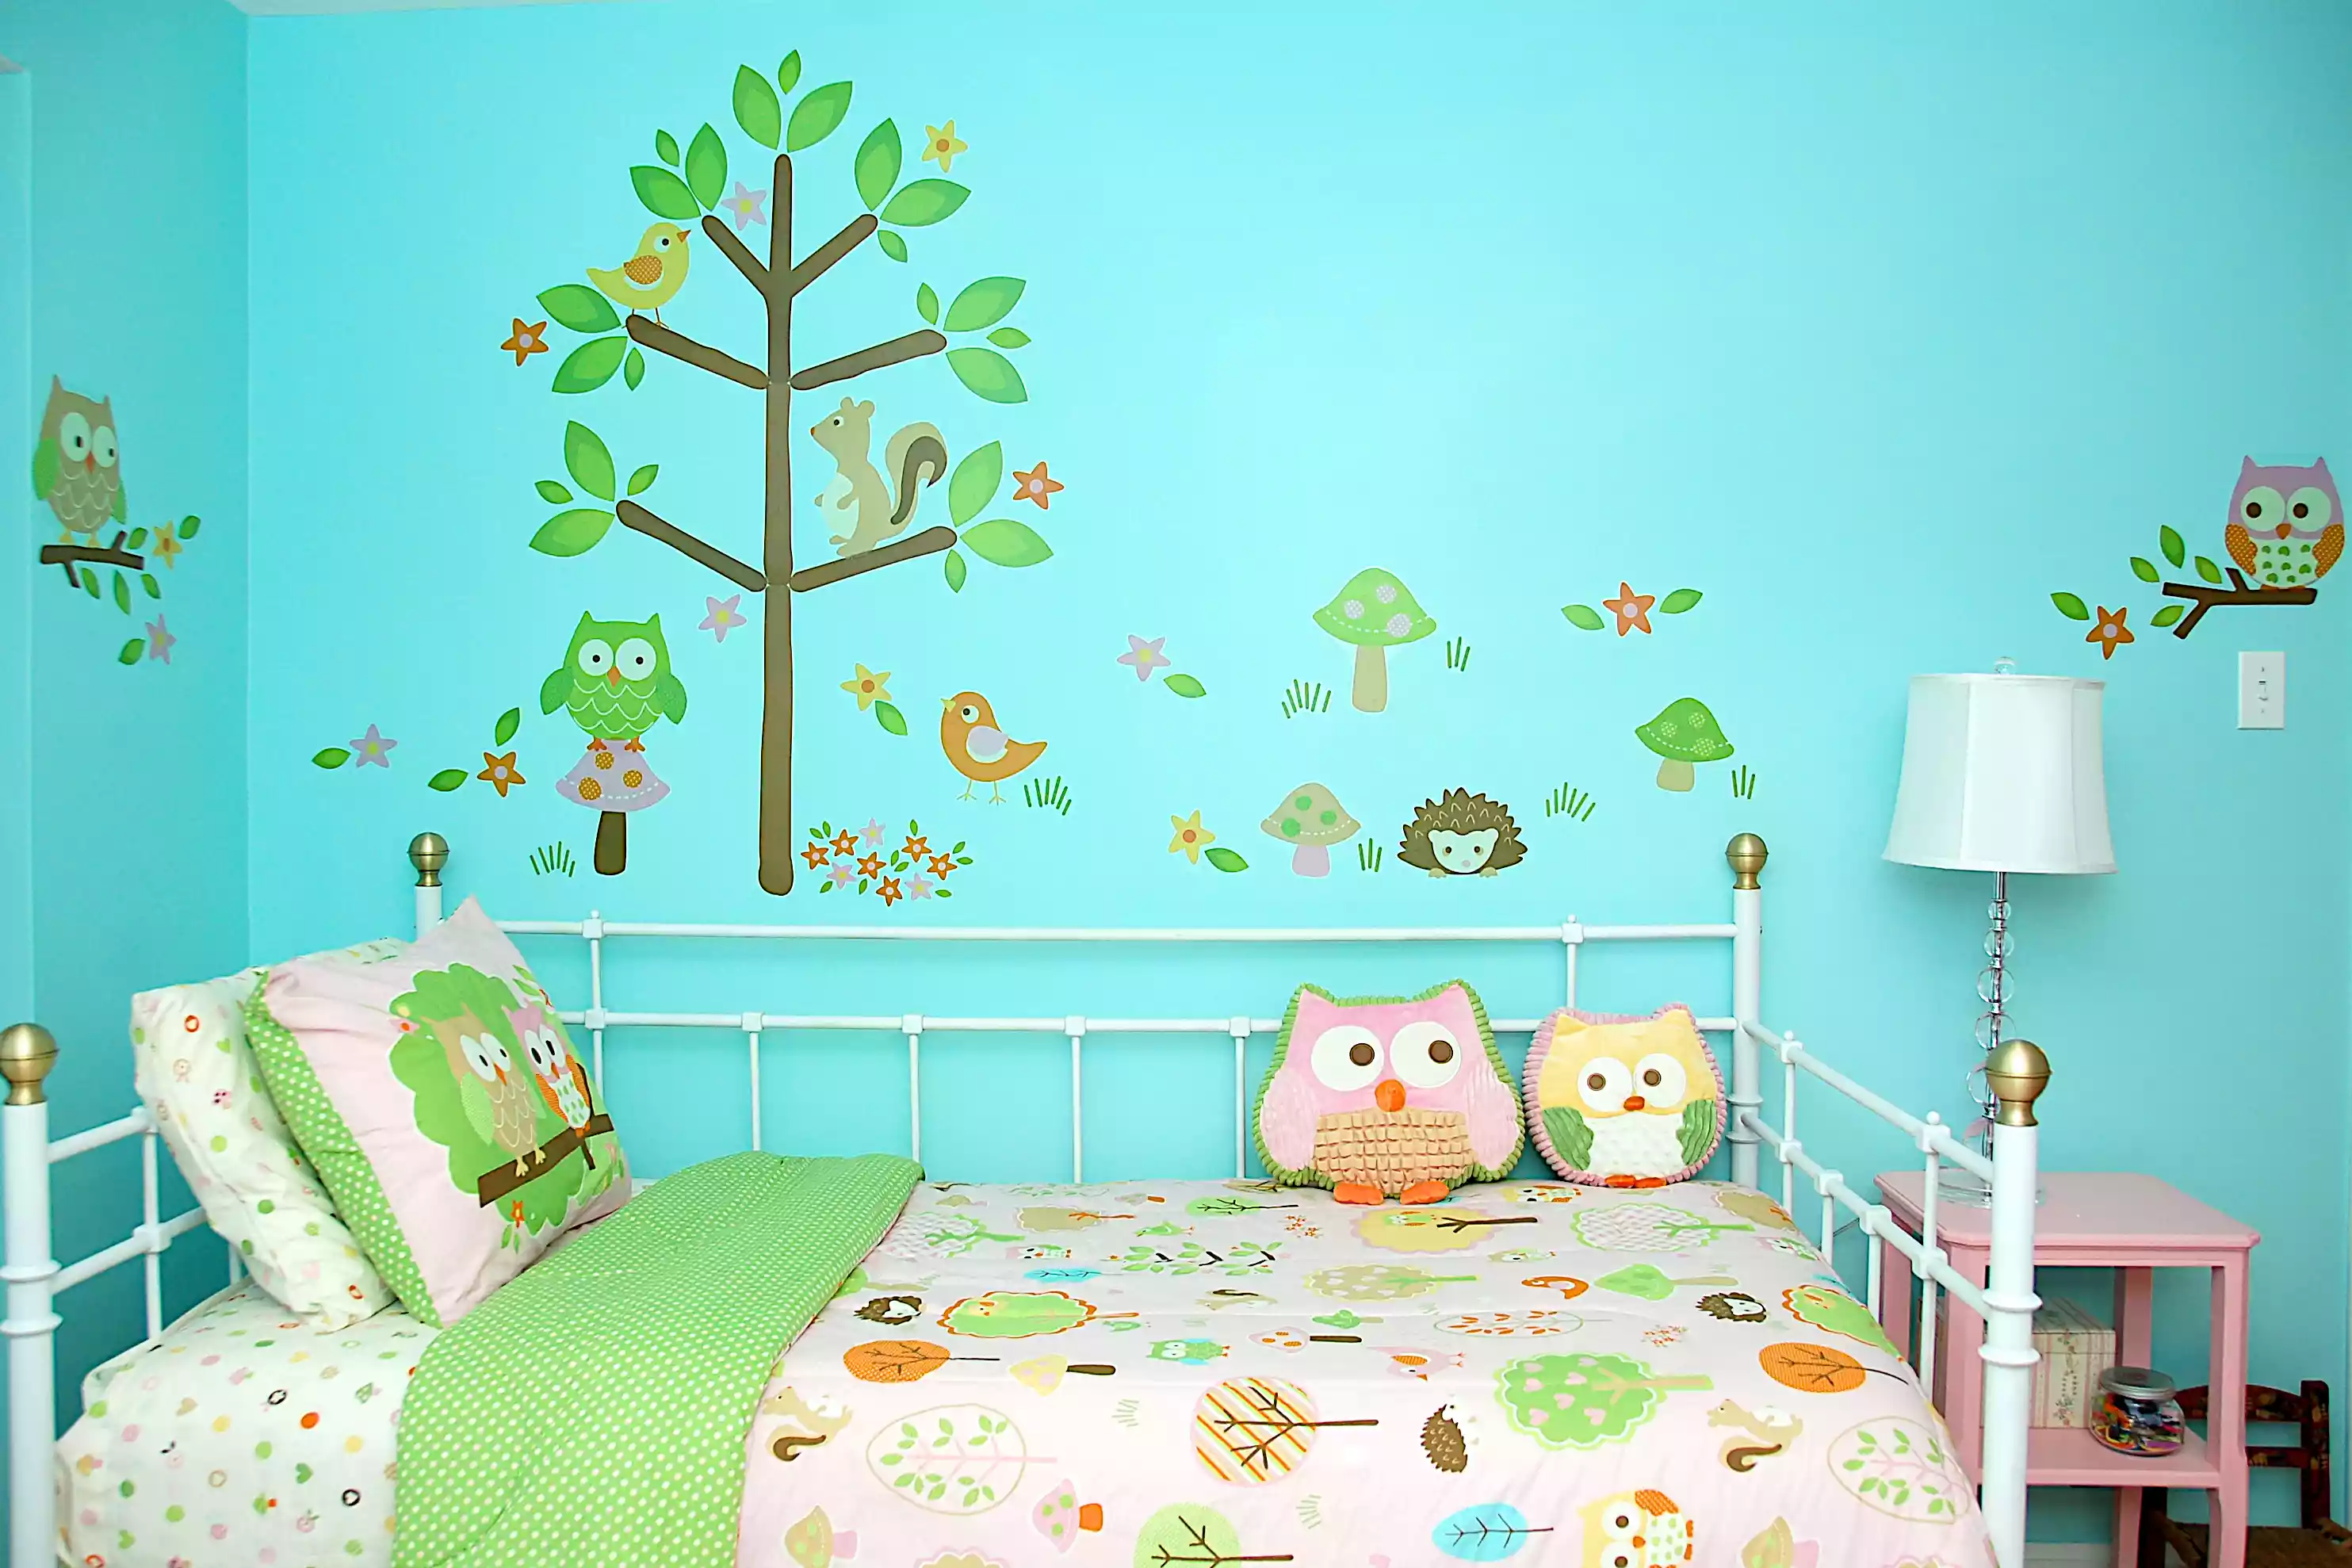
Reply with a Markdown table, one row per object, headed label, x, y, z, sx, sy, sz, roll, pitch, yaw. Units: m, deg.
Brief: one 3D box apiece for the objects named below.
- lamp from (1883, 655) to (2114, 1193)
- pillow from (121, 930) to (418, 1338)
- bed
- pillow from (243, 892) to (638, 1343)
| label | x | y | z | sx | sy | sz | roll | pitch | yaw |
| --- | --- | --- | --- | --- | --- | --- | --- | --- | --- |
| lamp | 1.456 | 0.242 | 3.267 | 0.373 | 0.877 | 0.327 | 0 | 7 | 7 |
| pillow | -1.334 | 0.520 | 2.742 | 0.144 | 0.455 | 0.464 | -22 | 4 | 7 |
| bed | 0.124 | 0.571 | 3.086 | 1.982 | 0.742 | 1.953 | -1 | 0 | 6 |
| pillow | -1.187 | 0.512 | 2.987 | 0.366 | 0.569 | 0.702 | -1 | 5 | 8 |
